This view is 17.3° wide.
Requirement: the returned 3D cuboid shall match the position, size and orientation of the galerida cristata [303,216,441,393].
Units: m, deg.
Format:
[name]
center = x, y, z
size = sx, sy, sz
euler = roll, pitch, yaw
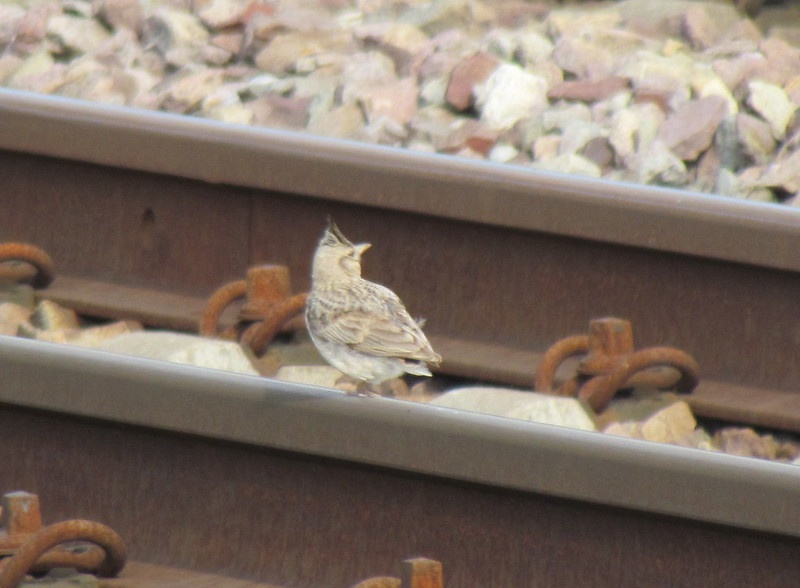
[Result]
[galerida cristata]
center = -0.099, 0.094, 9.753
size = 0.555, 0.599, 0.336
euler = 13, 16, 20
